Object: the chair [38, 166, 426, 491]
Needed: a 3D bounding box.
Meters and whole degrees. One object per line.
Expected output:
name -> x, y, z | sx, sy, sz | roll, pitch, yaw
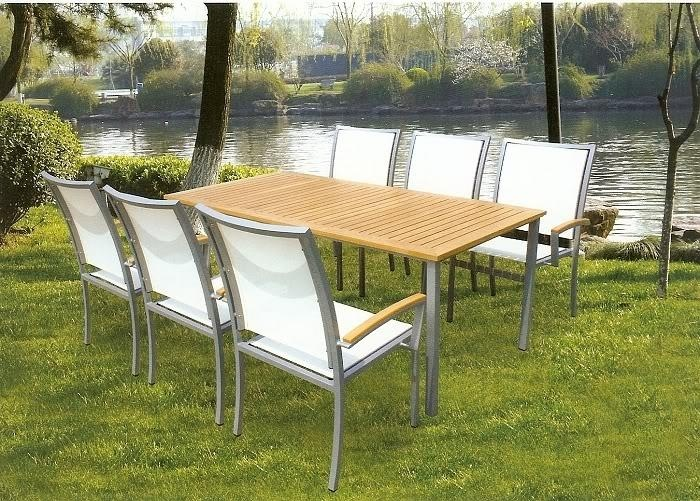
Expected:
chair -> -0.610, 0.227, 6.642 | 1.863, 2.915, 2.051 | 12, 20, 36
